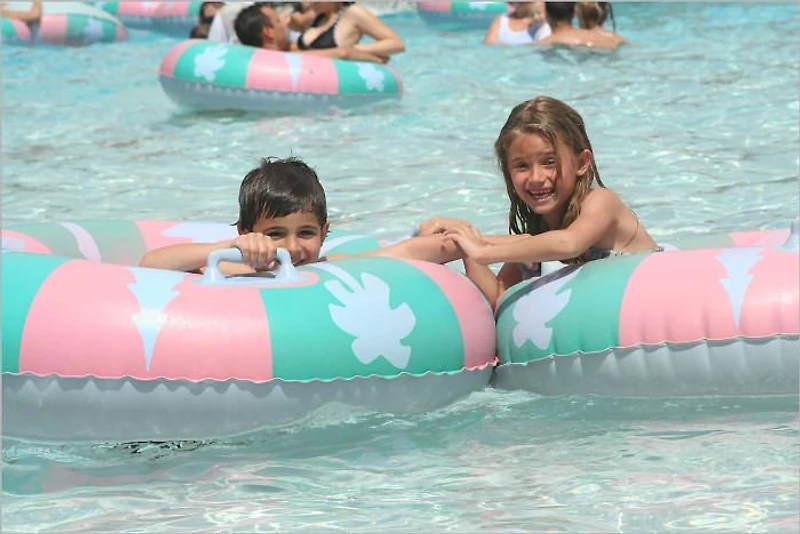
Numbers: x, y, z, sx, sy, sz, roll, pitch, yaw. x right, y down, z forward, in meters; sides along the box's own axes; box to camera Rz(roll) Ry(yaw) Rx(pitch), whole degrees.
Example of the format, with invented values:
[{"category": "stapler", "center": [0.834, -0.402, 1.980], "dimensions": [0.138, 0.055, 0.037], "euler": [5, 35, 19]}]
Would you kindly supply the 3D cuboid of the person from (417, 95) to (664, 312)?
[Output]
[{"category": "person", "center": [0.700, -0.368, 4.451], "dimensions": [1.231, 0.927, 0.841], "euler": [-18, 28, -32]}]
